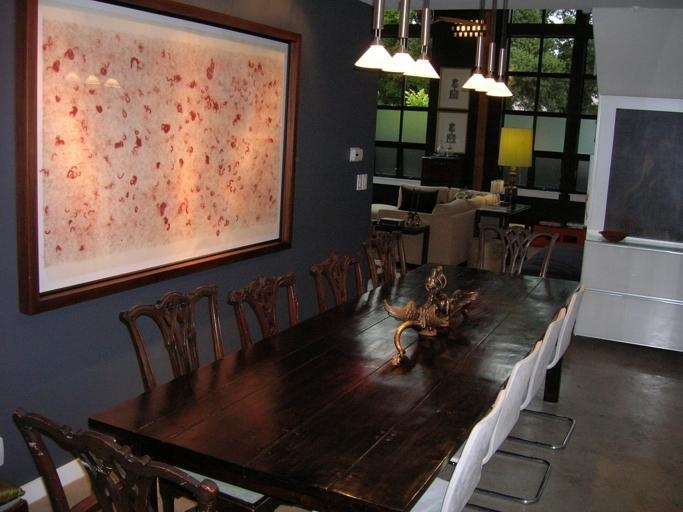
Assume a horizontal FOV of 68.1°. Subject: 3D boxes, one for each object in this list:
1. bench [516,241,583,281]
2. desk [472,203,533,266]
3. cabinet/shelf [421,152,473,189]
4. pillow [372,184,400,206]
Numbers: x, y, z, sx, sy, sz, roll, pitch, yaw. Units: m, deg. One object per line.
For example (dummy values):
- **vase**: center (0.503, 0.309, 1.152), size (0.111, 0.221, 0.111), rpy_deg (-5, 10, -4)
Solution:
- **bench**: center (2.627, 0.056, 6.041), size (0.556, 0.270, 1.080), rpy_deg (7, 12, 21)
- **desk**: center (2.849, -0.524, 8.664), size (0.351, 0.691, 1.152), rpy_deg (17, 26, 27)
- **cabinet/shelf**: center (2.133, -1.726, 10.092), size (1.014, 0.641, 0.627), rpy_deg (-7, 15, -33)
- **pillow**: center (0.959, -1.366, 11.144), size (0.707, 0.720, 0.171), rpy_deg (6, 10, 23)
